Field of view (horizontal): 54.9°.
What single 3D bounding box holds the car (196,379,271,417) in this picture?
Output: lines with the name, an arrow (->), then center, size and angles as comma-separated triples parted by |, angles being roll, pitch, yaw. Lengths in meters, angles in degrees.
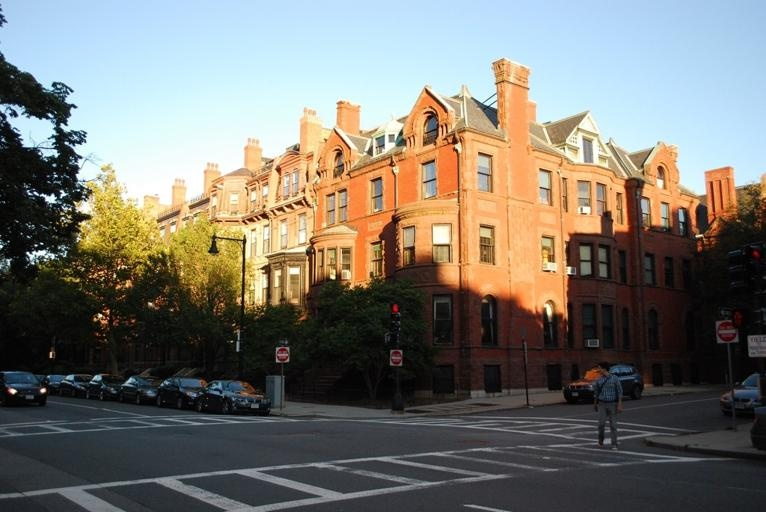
car -> -7.822, 7.491, 39.106 | 3.999, 1.863, 1.587 | -8, -17, 30

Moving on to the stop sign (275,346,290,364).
stop sign -> -5.390, 5.231, 39.579 | 0.650, 0.900, 1.042 | 4, -15, -12

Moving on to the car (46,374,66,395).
car -> -24.902, 9.703, 56.024 | 1.676, 1.278, 3.551 | 7, -14, -38

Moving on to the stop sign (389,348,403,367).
stop sign -> 0.694, 5.354, 39.055 | 0.520, 0.936, 0.829 | -2, -15, 11

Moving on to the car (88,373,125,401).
car -> -18.375, 8.678, 48.928 | 1.528, 1.803, 4.189 | 9, -17, -30

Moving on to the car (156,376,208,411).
car -> -11.349, 7.833, 42.027 | 1.586, 1.367, 3.267 | 12, -22, -41
